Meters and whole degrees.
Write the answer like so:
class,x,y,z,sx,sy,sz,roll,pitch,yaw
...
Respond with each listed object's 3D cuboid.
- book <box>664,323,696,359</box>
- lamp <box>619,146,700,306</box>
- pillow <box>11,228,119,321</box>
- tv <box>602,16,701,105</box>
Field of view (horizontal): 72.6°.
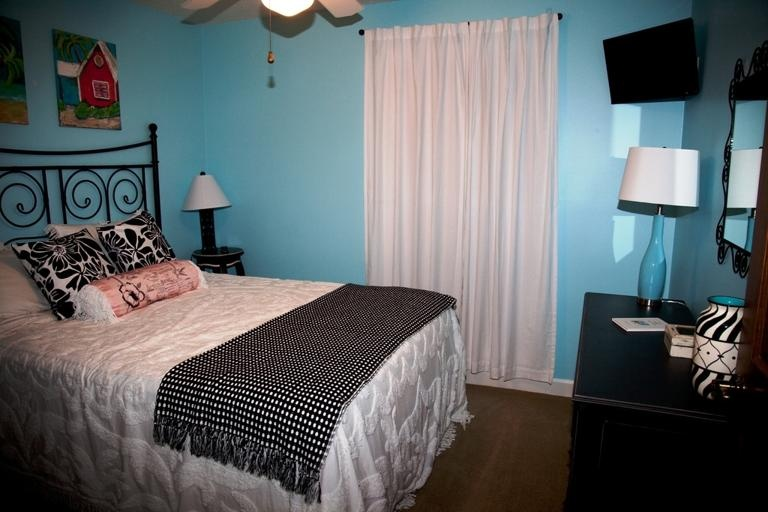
class,x,y,z,sx,sy,sz,roll,pitch,yaw
book,1.488,0.423,2.620,0.136,0.089,0.191,1,11,32
lamp,1.693,-0.176,3.210,0.404,0.980,0.471,6,14,37
pillow,-2.047,0.085,3.420,0.549,0.180,0.590,-18,57,-39
tv,1.840,-1.321,3.538,0.102,0.543,0.709,-22,18,-34
